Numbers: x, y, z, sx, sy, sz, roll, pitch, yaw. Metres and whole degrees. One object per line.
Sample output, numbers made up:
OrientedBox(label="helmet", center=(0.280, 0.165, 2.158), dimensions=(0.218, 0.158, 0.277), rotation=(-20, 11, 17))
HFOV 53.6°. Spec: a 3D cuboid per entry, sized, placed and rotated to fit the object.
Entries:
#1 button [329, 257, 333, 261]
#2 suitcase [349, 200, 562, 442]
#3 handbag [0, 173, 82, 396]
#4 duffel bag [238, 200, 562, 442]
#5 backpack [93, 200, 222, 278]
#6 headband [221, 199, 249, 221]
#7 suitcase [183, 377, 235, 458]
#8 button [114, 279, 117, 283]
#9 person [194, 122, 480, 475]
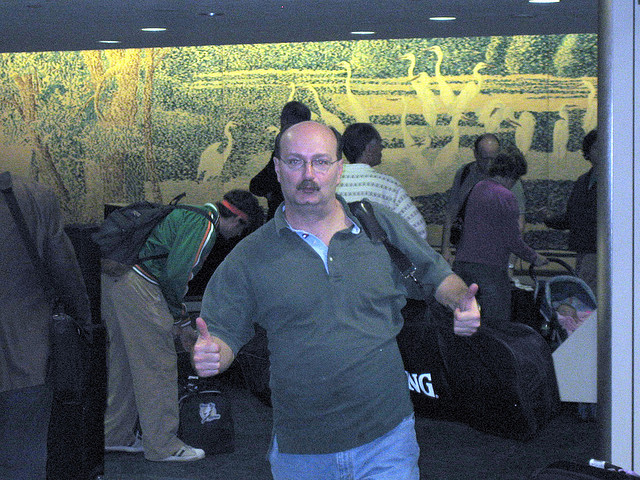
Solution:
OrientedBox(label="button", center=(0.036, 0.071, 2.337), dimensions=(0.017, 0.015, 0.004), rotation=(2, -1, -6))
OrientedBox(label="suitcase", center=(0.831, 0.665, 4.133), dimensions=(1.312, 1.136, 0.502), rotation=(4, 18, 43))
OrientedBox(label="handbag", center=(-1.331, 0.214, 3.018), dimensions=(0.372, 1.003, 0.179), rotation=(7, 13, 44))
OrientedBox(label="duffel bag", center=(0.436, 0.437, 3.116), dimensions=(1.780, 1.291, 0.642), rotation=(2, 30, 21))
OrientedBox(label="backpack", center=(-0.979, -0.105, 4.025), dimensions=(0.666, 0.534, 0.428), rotation=(7, 48, 6))
OrientedBox(label="headband", center=(-0.566, -0.197, 4.204), dimensions=(0.156, 0.060, 0.115), rotation=(38, 1, 3))
OrientedBox(label="suitcase", center=(-0.819, 1.322, 4.632), dimensions=(0.428, 0.314, 0.580), rotation=(3, 29, -16))
OrientedBox(label="button", center=(-1.271, 0.255, 3.909), dimensions=(0.011, 0.017, 0.009), rotation=(8, 24, 22))
OrientedBox(label="person", center=(0.049, 0.216, 2.376), dimensions=(1.055, 1.315, 0.424), rotation=(-3, 9, -11))
